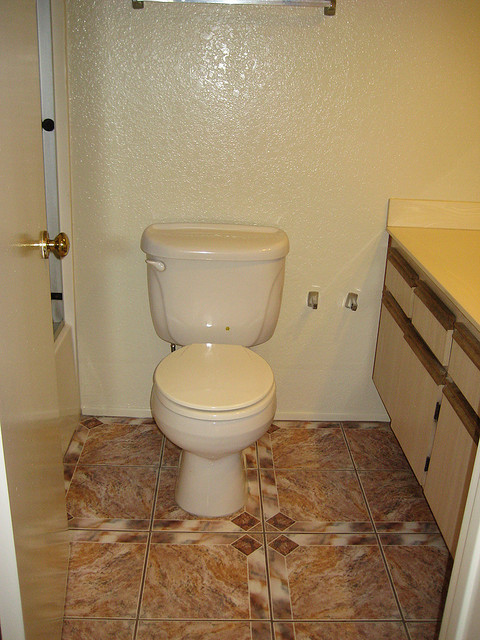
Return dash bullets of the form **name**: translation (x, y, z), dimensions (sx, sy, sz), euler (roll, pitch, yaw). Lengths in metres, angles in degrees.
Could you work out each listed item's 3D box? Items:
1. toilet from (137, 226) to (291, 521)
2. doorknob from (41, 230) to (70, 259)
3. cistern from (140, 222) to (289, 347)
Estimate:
- **toilet**: translation (-0.051, 0.174, 1.695), dimensions (0.557, 0.850, 0.699), euler (-1, 26, -12)
- **doorknob**: translation (-0.358, -0.138, 0.987), dimensions (0.064, 0.063, 0.066), euler (2, 3, -6)
- **cistern**: translation (-0.080, -0.117, 1.853), dimensions (0.645, 0.463, 0.375), euler (1, 27, 0)
